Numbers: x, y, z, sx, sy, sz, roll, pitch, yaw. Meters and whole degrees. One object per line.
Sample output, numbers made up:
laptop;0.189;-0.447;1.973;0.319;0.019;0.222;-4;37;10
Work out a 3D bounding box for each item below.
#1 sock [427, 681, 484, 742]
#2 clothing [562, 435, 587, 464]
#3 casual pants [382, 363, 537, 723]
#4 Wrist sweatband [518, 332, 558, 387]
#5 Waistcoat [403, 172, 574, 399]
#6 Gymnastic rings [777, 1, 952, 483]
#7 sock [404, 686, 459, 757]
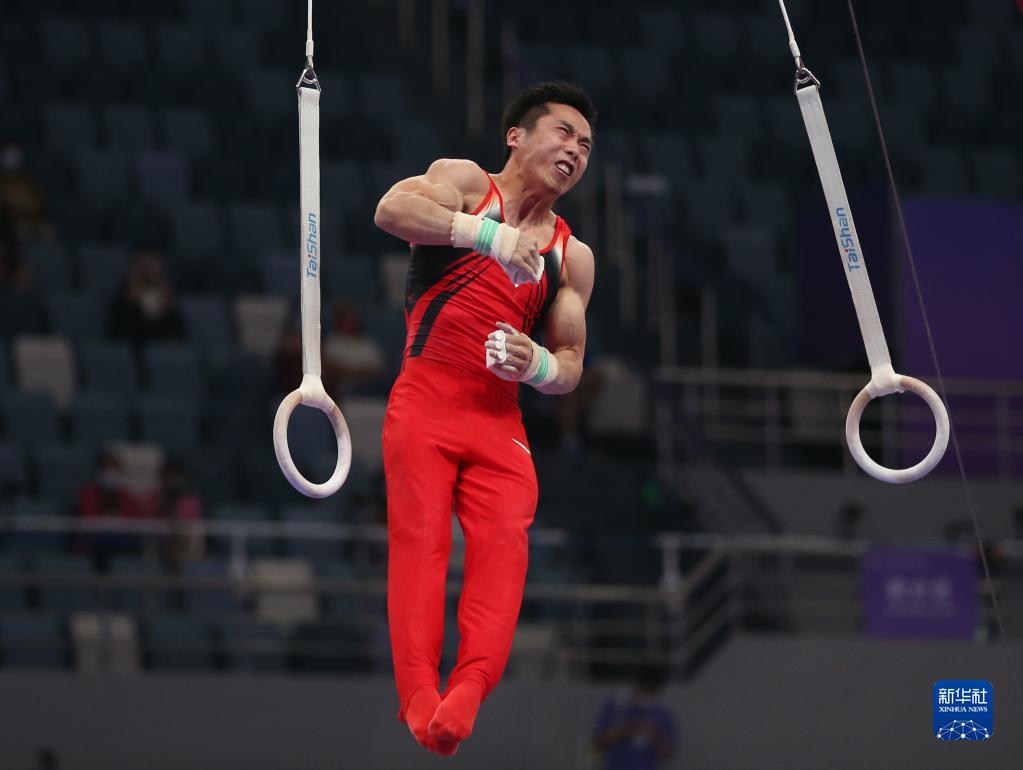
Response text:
sock;-0.288;1.854;11.886;0.263;0.180;0.505;-4;25;14
clothing;0.481;0.497;15.954;0.044;0.190;0.177;-21;-43;39
casual pants;-0.307;0.870;12.015;0.884;2.084;0.310;0;-5;0
Wrist sweatband;0.164;-0.112;11.993;0.191;0.206;0.249;-23;4;-15
Waistcoat;-0.158;-0.584;12.092;0.618;1.214;0.847;9;-19;48
Gymnastic rings;2.155;-0.978;12.732;1.003;3.149;1.622;-1;-5;11
sock;-0.469;1.952;11.791;0.290;0.387;0.152;-20;-9;26
